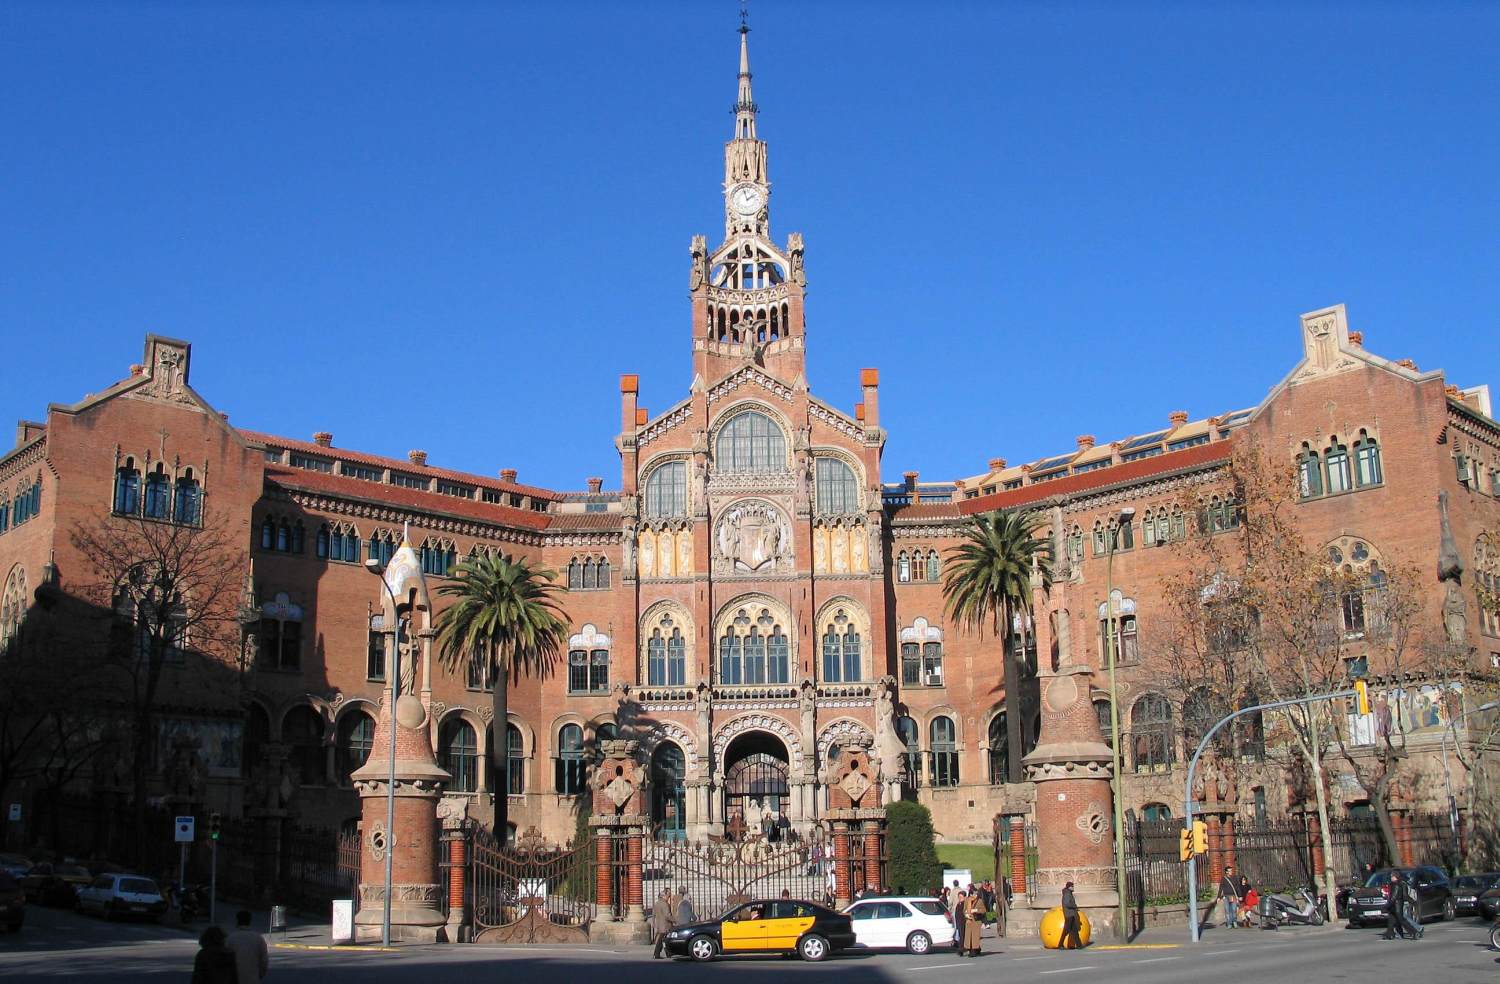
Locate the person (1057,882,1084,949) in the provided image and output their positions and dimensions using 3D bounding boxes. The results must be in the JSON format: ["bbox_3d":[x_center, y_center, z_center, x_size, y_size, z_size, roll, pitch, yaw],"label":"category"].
[{"bbox_3d":[11.901,15.480,60.379,0.757,2.222,0.816,-1,-20,-2],"label":"person"}]

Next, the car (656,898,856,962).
[{"bbox_3d":[0.458,15.949,59.464,5.900,2.017,2.757,2,-24,1],"label":"car"}]

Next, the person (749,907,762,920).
[{"bbox_3d":[0.315,14.948,58.913,0.345,0.302,0.826,-2,-11,4],"label":"person"}]
